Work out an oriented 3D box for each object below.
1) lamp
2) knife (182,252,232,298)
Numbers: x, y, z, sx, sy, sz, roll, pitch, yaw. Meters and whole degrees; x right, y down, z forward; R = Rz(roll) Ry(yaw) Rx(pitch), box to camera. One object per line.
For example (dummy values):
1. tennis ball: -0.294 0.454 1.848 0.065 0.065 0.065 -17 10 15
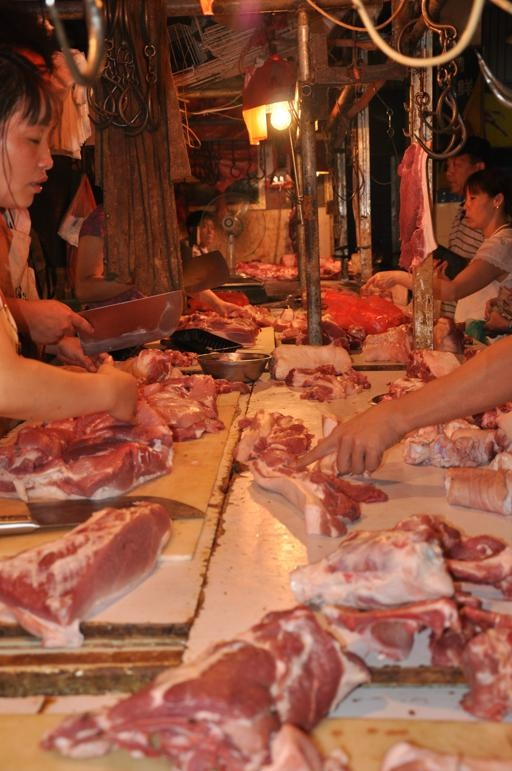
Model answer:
1. lamp: 0.070 -1.639 3.861 0.315 0.335 0.466 4 13 -5
2. knife: -0.266 -0.560 3.412 0.372 0.179 0.077 -14 -11 31
